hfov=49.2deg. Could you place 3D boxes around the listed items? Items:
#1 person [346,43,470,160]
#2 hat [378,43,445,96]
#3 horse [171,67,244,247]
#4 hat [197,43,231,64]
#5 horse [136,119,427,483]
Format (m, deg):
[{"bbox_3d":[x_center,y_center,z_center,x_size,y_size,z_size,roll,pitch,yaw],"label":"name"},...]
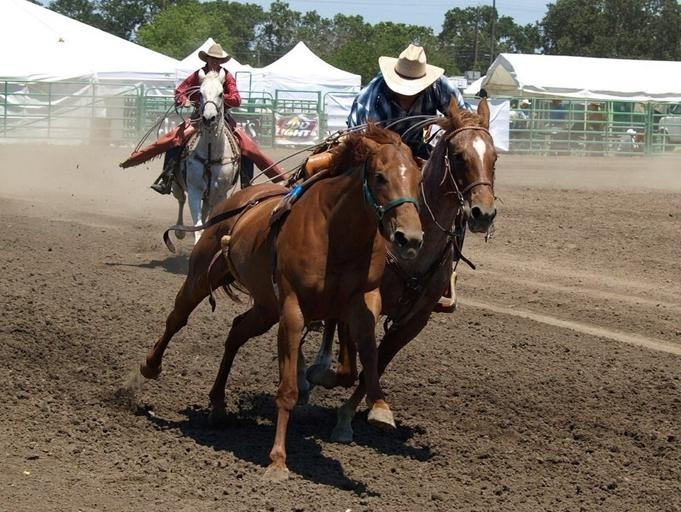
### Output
[{"bbox_3d":[0.686,-1.424,7.563,1.190,1.250,1.434,8,21,16],"label":"person"},{"bbox_3d":[0.647,-1.787,7.178,0.624,0.482,0.543,6,12,15],"label":"hat"},{"bbox_3d":[-2.184,-1.402,11.883,1.085,2.385,3.609,5,-3,-12],"label":"horse"},{"bbox_3d":[-1.953,-3.202,11.629,0.476,0.203,0.521,6,1,-5],"label":"hat"},{"bbox_3d":[-0.361,0.296,6.077,0.949,2.737,2.324,-7,15,-38],"label":"horse"}]
